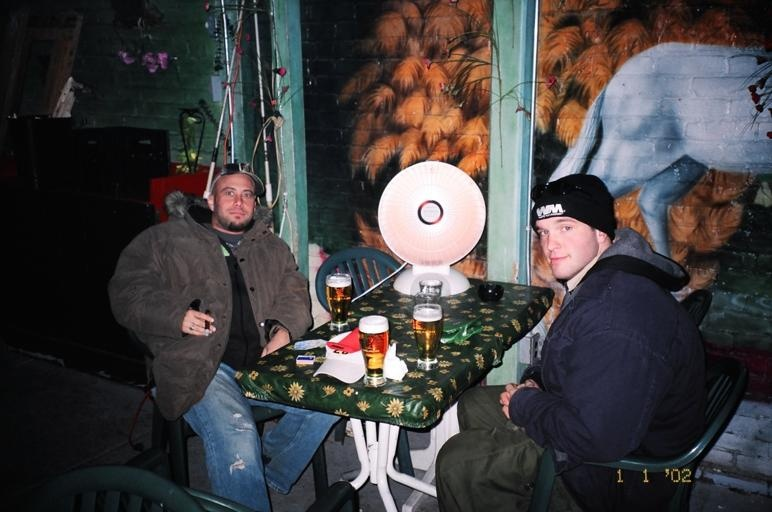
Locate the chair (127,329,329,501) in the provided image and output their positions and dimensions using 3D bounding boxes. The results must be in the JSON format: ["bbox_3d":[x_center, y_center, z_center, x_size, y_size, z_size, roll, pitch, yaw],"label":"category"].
[{"bbox_3d":[-0.838,0.996,3.488,0.841,1.164,0.684,2,16,-4],"label":"chair"}]

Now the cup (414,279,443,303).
[{"bbox_3d":[0.270,0.223,3.628,0.151,0.145,0.131,-9,14,-41],"label":"cup"}]

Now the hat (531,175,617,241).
[{"bbox_3d":[1.017,-0.297,3.111,0.364,0.301,0.358,-9,12,-31],"label":"hat"}]

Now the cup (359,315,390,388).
[{"bbox_3d":[-0.065,0.460,2.791,0.139,0.353,0.215,4,3,-1],"label":"cup"}]
